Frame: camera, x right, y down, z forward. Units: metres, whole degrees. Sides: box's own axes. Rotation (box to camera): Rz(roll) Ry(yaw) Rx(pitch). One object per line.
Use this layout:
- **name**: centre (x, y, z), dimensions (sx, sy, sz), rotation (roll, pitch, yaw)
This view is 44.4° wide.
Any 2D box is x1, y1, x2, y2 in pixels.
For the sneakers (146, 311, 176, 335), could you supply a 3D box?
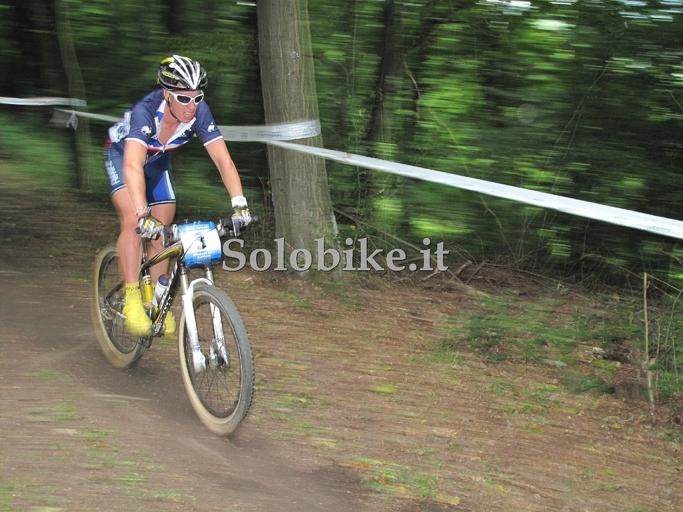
- **sneakers**: centre (-1.538, 0.581, 7.333), dimensions (0.173, 0.165, 0.081), rotation (-4, 11, -39)

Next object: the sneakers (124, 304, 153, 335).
- **sneakers**: centre (-1.761, 0.545, 7.371), dimensions (0.278, 0.255, 0.125), rotation (-7, 9, 8)

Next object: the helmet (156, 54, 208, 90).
- **helmet**: centre (-1.279, -1.496, 6.856), dimensions (0.421, 0.172, 0.471), rotation (-7, 26, -23)

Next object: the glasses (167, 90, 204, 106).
- **glasses**: centre (-1.256, -1.295, 6.839), dimensions (0.285, 0.109, 0.174), rotation (-3, 24, -17)
